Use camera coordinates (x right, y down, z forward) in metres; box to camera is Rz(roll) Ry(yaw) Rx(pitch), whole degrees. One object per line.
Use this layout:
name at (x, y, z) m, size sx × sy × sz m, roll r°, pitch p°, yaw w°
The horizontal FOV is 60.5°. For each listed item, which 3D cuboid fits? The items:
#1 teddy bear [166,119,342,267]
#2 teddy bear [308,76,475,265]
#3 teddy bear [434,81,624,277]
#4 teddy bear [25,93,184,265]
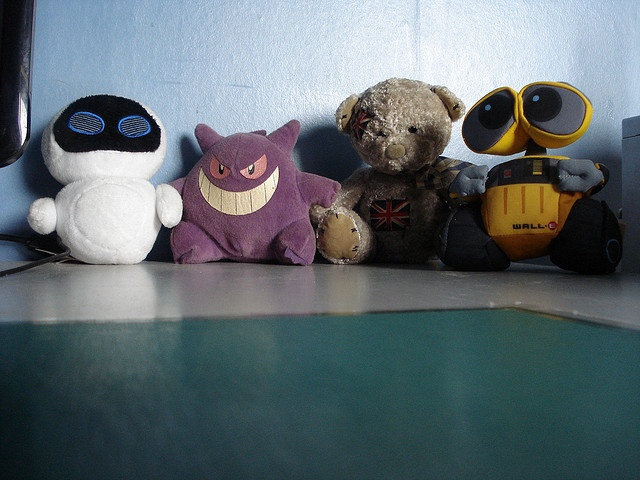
teddy bear at (-0.188, -0.125, 1.490) m, size 0.478 × 0.429 × 0.256 m, roll -1°, pitch -8°, yaw 4°
teddy bear at (0.217, -0.177, 1.481) m, size 0.405 × 0.522 × 0.344 m, roll 0°, pitch 3°, yaw 23°
teddy bear at (0.502, -0.140, 1.277) m, size 0.417 × 0.433 × 0.184 m, roll 5°, pitch 10°, yaw 13°
teddy bear at (-0.540, -0.143, 1.345) m, size 0.374 × 0.504 × 0.275 m, roll 1°, pitch -14°, yaw -15°
